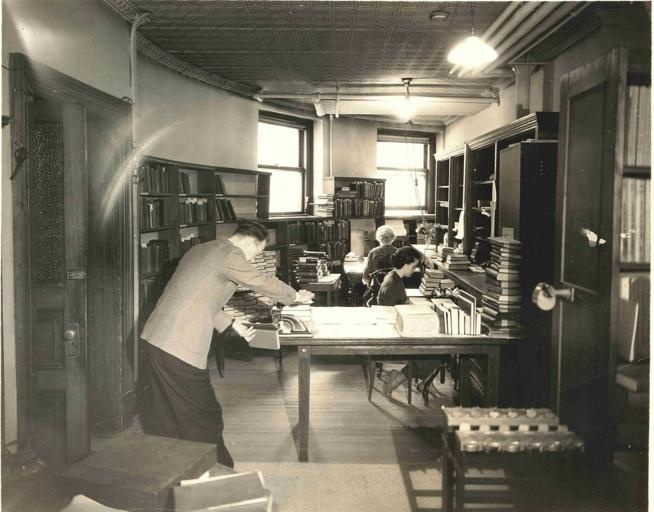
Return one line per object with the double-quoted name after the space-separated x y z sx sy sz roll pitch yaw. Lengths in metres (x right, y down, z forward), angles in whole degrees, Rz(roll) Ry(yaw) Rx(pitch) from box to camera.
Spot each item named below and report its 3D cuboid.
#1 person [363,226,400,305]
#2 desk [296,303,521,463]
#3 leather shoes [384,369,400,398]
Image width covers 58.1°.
0.906 0.076 8.265 0.400 0.427 1.444 -7 -44 14 "person"
0.561 0.811 5.344 1.572 0.954 1.265 0 -5 -2 "desk"
0.660 1.281 5.970 0.107 0.278 0.163 14 -9 -7 "leather shoes"
